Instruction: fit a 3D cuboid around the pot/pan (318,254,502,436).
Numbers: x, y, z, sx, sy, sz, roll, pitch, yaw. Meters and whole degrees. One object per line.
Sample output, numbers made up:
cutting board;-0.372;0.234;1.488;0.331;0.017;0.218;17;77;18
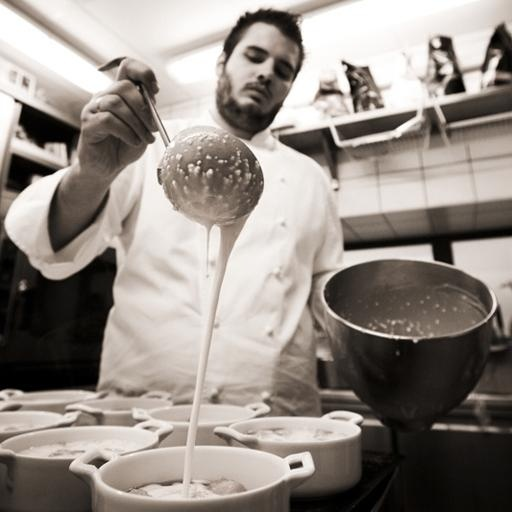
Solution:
pot/pan;0.288;0.182;0.956;0.281;0.279;0.335;-10;16;-8

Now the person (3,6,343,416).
person;-0.188;-0.096;1.496;0.573;0.848;1.030;-4;3;31
